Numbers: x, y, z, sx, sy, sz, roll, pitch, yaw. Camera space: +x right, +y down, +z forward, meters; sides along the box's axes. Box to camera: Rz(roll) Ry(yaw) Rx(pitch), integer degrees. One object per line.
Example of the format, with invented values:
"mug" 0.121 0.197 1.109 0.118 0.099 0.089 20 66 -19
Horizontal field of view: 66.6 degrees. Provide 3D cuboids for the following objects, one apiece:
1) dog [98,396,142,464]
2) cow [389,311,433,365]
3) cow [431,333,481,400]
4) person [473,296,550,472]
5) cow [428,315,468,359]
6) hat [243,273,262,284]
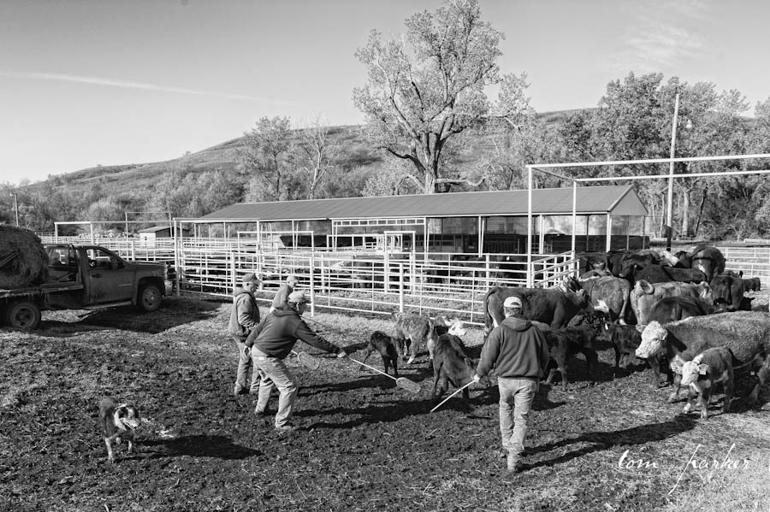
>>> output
"dog" -4.274 2.798 9.442 0.575 0.958 0.780 -2 2 -27
"cow" 0.583 1.760 12.973 0.509 1.044 1.792 0 3 -25
"cow" 1.298 2.072 10.910 0.799 1.156 0.583 0 2 17
"person" 2.021 2.011 9.186 1.041 2.714 0.491 0 2 15
"cow" 1.140 1.594 12.242 0.653 0.248 0.590 -29 -56 30
"hat" -2.638 0.448 11.705 0.366 0.203 0.525 1 1 -1
